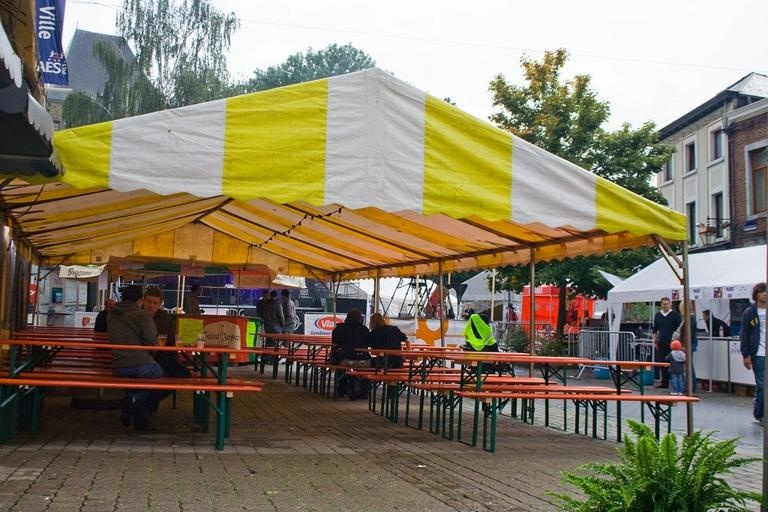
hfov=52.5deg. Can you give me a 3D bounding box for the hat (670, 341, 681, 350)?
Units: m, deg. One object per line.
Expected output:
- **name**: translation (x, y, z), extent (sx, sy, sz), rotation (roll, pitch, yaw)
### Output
- **hat**: translation (6.463, 1.984, 17.264), extent (0.252, 0.187, 0.182), rotation (5, 1, 42)

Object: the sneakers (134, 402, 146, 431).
- **sneakers**: translation (-3.602, 2.354, 11.418), extent (0.177, 0.438, 0.197), rotation (2, 7, 0)

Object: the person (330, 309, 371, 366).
- **person**: translation (-0.662, 1.711, 15.571), extent (0.992, 1.181, 1.045), rotation (3, 0, -9)

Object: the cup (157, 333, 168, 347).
- **cup**: translation (-3.385, 1.283, 11.845), extent (0.235, 0.239, 0.229), rotation (0, -9, 0)

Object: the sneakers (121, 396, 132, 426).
- **sneakers**: translation (-3.751, 2.237, 11.236), extent (0.162, 0.417, 0.189), rotation (4, 1, -2)

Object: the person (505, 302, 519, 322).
- **person**: translation (5.999, 2.648, 36.520), extent (0.526, 0.908, 0.734), rotation (-7, -13, 28)

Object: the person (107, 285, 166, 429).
- **person**: translation (-3.666, 1.482, 11.373), extent (0.782, 2.137, 0.935), rotation (1, -8, 17)

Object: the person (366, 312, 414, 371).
- **person**: translation (-0.004, 1.598, 15.061), extent (0.840, 1.036, 0.644), rotation (-11, 5, -27)
